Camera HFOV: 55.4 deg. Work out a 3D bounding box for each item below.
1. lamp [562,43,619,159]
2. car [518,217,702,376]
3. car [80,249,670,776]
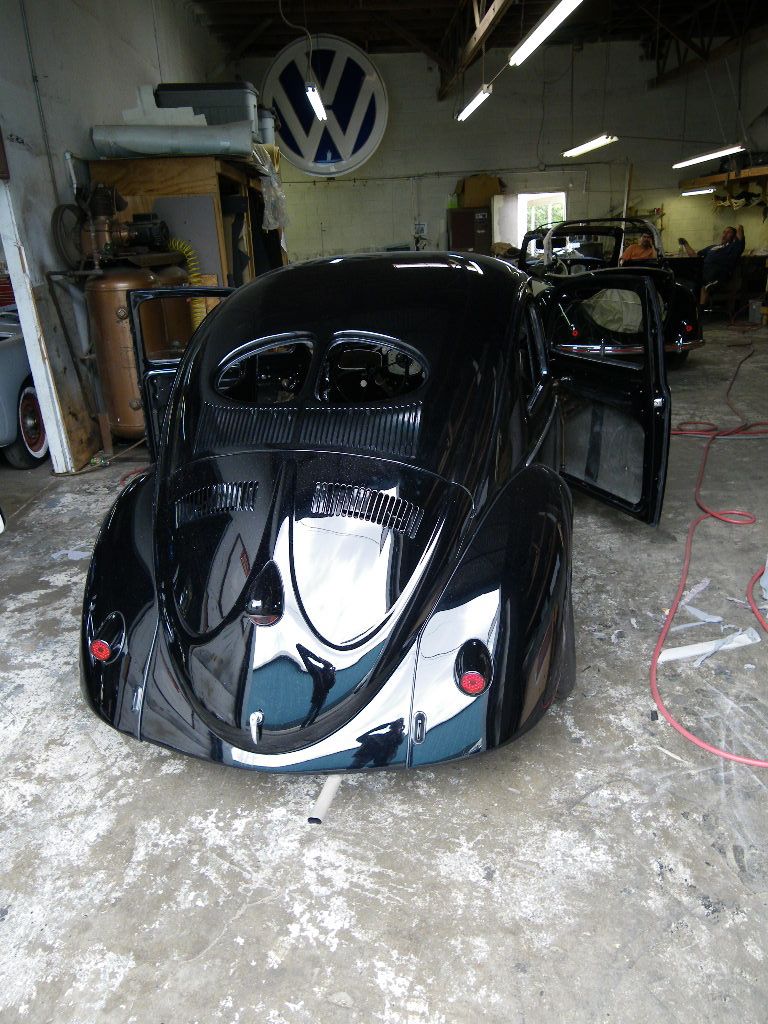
[{"bbox_3d":[3.653,-7.274,12.970,1.029,1.690,2.448,4,19,15],"label":"lamp"},{"bbox_3d":[1.888,-2.190,6.600,2.022,0.963,1.200,15,44,17],"label":"car"},{"bbox_3d":[0.152,-0.286,2.604,1.450,1.048,2.629,-3,23,19],"label":"car"}]
